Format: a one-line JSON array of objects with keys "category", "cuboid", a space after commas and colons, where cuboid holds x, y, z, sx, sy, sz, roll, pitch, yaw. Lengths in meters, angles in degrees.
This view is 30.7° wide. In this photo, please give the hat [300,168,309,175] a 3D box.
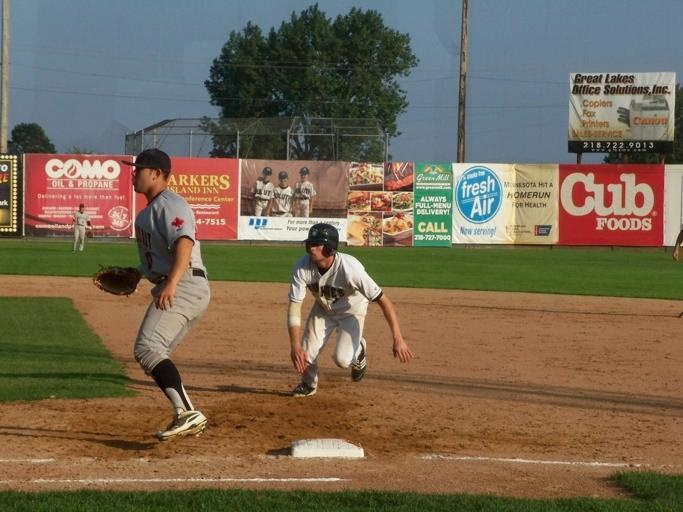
[{"category": "hat", "cuboid": [-1.348, -2.887, 42.867, 0.234, 0.272, 0.266, 1, 4, 0]}]

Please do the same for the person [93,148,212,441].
[{"category": "person", "cuboid": [-2.757, 0.571, 18.598, 1.459, 4.316, 0.822, 4, 4, 35]}]

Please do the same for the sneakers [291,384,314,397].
[{"category": "sneakers", "cuboid": [-0.662, 2.194, 20.084, 0.381, 0.178, 0.167, 1, 10, -3]}]

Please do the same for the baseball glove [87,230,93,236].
[{"category": "baseball glove", "cuboid": [-8.512, -0.696, 41.495, 0.039, 0.140, 0.147, 4, -21, 32]}]

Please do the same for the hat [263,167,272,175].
[{"category": "hat", "cuboid": [-2.605, -2.873, 42.581, 0.290, 0.279, 0.084, 0, 3, -29]}]
